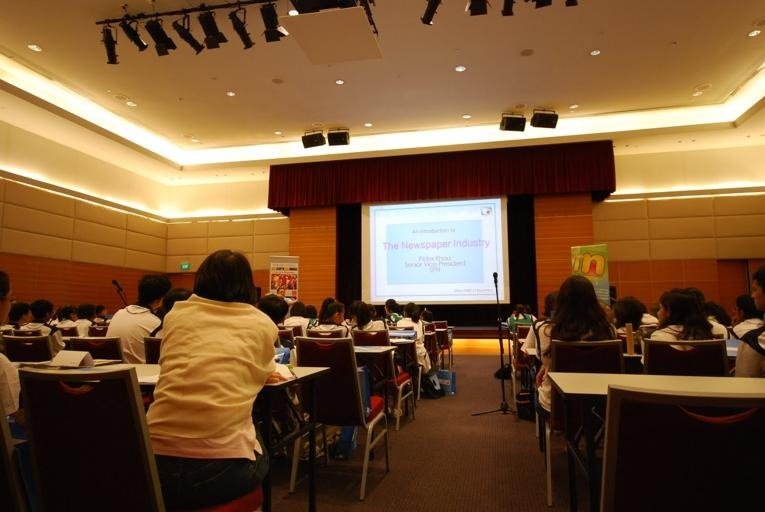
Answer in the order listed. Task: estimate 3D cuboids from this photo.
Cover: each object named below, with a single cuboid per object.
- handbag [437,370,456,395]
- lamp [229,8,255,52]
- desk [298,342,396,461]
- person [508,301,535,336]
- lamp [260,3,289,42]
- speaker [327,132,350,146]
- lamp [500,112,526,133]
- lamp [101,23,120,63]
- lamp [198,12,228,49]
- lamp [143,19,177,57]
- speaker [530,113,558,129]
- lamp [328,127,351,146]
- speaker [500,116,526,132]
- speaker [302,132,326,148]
[{"bbox_3d":[0.936,1.883,8.122,0.272,0.285,0.100,4,9,36],"label":"handbag"},{"bbox_3d":[-2.124,-3.430,8.320,0.398,0.569,0.190,-16,33,8],"label":"lamp"},{"bbox_3d":[-0.338,1.391,5.652,0.730,1.426,0.894,6,13,25],"label":"desk"},{"bbox_3d":[2.255,1.019,9.014,0.564,0.374,0.836,-2,3,2],"label":"person"},{"bbox_3d":[-1.647,-3.489,8.274,0.344,0.474,0.710,-2,11,-8],"label":"lamp"},{"bbox_3d":[-0.965,-2.555,11.995,0.397,0.326,0.289,-1,16,6],"label":"speaker"},{"bbox_3d":[2.677,-2.805,11.353,0.545,0.443,0.388,4,19,3],"label":"lamp"},{"bbox_3d":[-4.320,-3.310,8.718,0.205,0.558,0.875,-6,12,-25],"label":"lamp"},{"bbox_3d":[-2.528,-3.362,8.157,0.363,0.472,0.267,-2,11,-9],"label":"lamp"},{"bbox_3d":[-3.426,-3.370,8.413,0.393,0.546,0.501,-8,13,-34],"label":"lamp"},{"bbox_3d":[3.243,-2.738,11.073,0.451,0.288,0.232,0,11,1],"label":"speaker"},{"bbox_3d":[-0.949,-2.586,12.071,0.488,0.378,0.365,0,19,11],"label":"lamp"},{"bbox_3d":[2.678,-2.776,11.339,0.446,0.359,0.314,0,-27,7],"label":"speaker"},{"bbox_3d":[-1.537,-2.584,12.206,0.466,0.339,0.526,-1,11,-4],"label":"speaker"}]
